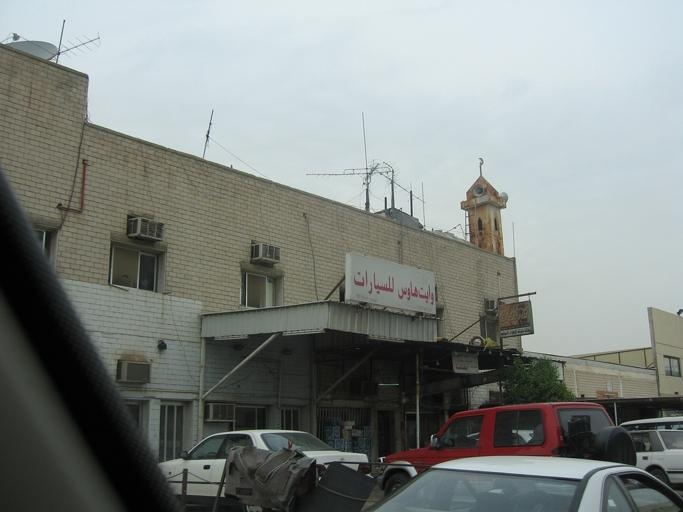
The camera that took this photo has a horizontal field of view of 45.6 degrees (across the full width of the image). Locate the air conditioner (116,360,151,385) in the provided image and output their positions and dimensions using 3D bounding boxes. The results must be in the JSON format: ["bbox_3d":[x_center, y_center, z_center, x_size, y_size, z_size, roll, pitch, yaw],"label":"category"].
[{"bbox_3d":[-4.647,2.579,18.163,0.333,0.518,0.765,-13,-20,40],"label":"air conditioner"}]

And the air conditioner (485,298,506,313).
[{"bbox_3d":[5.640,1.810,30.056,0.659,0.654,0.466,3,-3,-21],"label":"air conditioner"}]

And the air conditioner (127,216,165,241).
[{"bbox_3d":[-4.631,-0.671,19.141,0.480,0.569,0.767,-9,-17,30],"label":"air conditioner"}]

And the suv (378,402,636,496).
[{"bbox_3d":[2.657,2.904,13.127,3.337,1.532,1.925,-9,-17,37],"label":"suv"}]

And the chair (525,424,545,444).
[{"bbox_3d":[2.970,2.738,12.454,0.237,0.358,0.291,-5,-22,29],"label":"chair"}]

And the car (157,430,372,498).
[{"bbox_3d":[-1.570,3.589,14.132,3.147,1.173,1.721,1,-15,-6],"label":"car"}]

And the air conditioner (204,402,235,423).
[{"bbox_3d":[-2.935,3.744,19.576,0.794,0.438,0.260,14,-20,-42],"label":"air conditioner"}]
